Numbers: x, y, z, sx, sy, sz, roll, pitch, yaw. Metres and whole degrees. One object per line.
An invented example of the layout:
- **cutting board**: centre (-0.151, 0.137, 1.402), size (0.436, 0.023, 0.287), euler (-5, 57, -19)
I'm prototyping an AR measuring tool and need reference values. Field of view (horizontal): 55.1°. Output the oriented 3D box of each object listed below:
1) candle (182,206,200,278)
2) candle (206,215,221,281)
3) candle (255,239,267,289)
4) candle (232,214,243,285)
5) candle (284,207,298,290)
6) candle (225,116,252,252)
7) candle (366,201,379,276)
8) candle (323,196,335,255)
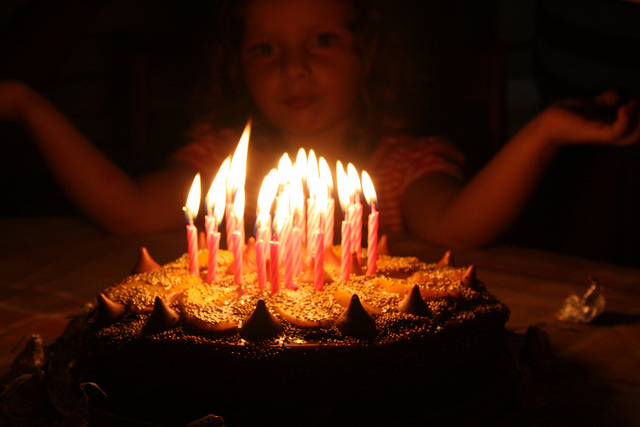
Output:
- **candle**: centre (-0.500, 0.103, 2.385), size (0.061, 0.244, 0.178), euler (1, 21, -12)
- **candle**: centre (-0.416, 0.122, 2.371), size (0.043, 0.222, 0.190), euler (2, 21, -10)
- **candle**: centre (-0.220, 0.182, 2.295), size (0.049, 0.182, 0.095), euler (3, 21, -6)
- **candle**: centre (-0.316, 0.133, 2.346), size (0.045, 0.227, 0.166), euler (2, 21, -8)
- **candle**: centre (-0.112, 0.142, 2.305), size (0.056, 0.256, 0.136), euler (1, 21, -11)
- **candle**: centre (-0.356, -0.076, 2.409), size (0.040, 0.395, 0.041), euler (7, -7, -35)
- **candle**: centre (0.210, 0.097, 2.415), size (0.056, 0.246, 0.200), euler (7, 21, 3)
- **candle**: centre (0.034, 0.050, 2.482), size (0.040, 0.213, 0.093), euler (6, 21, 0)
